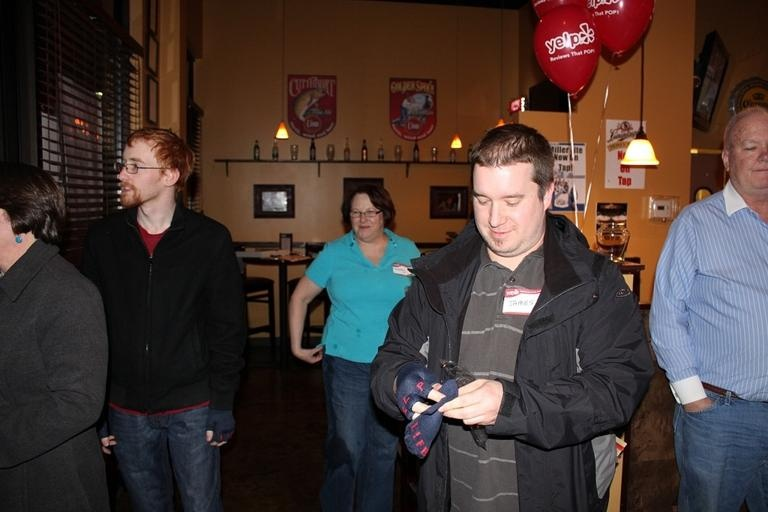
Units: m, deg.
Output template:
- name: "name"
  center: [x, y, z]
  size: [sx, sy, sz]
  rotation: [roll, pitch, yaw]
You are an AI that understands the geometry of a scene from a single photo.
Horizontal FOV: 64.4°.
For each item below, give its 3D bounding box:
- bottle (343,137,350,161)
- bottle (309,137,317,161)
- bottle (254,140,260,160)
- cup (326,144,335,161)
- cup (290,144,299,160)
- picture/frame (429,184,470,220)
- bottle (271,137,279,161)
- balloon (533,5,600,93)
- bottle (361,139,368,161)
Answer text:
- name: "bottle"
  center: [-0.477, -1.373, 7.835]
  size: [0.088, 0.296, 0.120]
  rotation: [-1, 5, -4]
- name: "bottle"
  center: [-0.912, -1.361, 7.800]
  size: [0.097, 0.305, 0.149]
  rotation: [-1, 5, -7]
- name: "bottle"
  center: [-1.618, -1.339, 7.715]
  size: [0.104, 0.260, 0.130]
  rotation: [-1, 5, -13]
- name: "cup"
  center: [-0.685, -1.326, 7.796]
  size: [0.108, 0.217, 0.139]
  rotation: [-1, 5, -6]
- name: "cup"
  center: [-1.143, -1.324, 7.778]
  size: [0.108, 0.216, 0.113]
  rotation: [0, 5, 0]
- name: "picture/frame"
  center: [0.874, -0.701, 8.100]
  size: [0.490, 0.421, 0.031]
  rotation: [1, -6, 6]
- name: "bottle"
  center: [-1.385, -1.355, 7.733]
  size: [0.087, 0.288, 0.174]
  rotation: [-1, 5, -10]
- name: "balloon"
  center: [1.232, -1.410, 4.126]
  size: [0.391, 0.561, 0.276]
  rotation: [3, 5, 31]
- name: "bottle"
  center: [-0.253, -1.365, 7.871]
  size: [0.079, 0.284, 0.122]
  rotation: [0, 5, 1]
